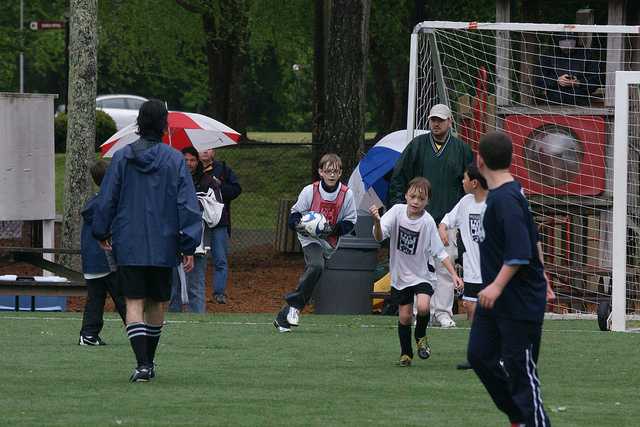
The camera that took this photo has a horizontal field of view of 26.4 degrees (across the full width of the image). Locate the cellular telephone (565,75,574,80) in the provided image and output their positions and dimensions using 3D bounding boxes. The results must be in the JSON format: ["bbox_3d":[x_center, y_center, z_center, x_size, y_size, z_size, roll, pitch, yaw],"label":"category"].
[{"bbox_3d":[4.238,-2.318,23.281,0.093,0.069,0.217,1,3,31],"label":"cellular telephone"}]

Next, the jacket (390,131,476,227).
[{"bbox_3d":[1.642,-0.458,19.927,1.328,1.288,0.532,5,2,2],"label":"jacket"}]

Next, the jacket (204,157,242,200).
[{"bbox_3d":[-1.619,-0.579,23.187,0.272,0.713,0.537,-20,14,49],"label":"jacket"}]

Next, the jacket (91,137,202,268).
[{"bbox_3d":[-2.343,-0.138,18.379,1.599,1.675,0.705,4,9,10],"label":"jacket"}]

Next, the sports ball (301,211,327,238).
[{"bbox_3d":[-0.091,0.169,20.447,0.381,0.314,0.304,4,6,30],"label":"sports ball"}]

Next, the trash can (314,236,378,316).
[{"bbox_3d":[0.551,1.138,23.384,1.104,1.432,1.207,1,0,-29],"label":"trash can"}]

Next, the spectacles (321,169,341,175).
[{"bbox_3d":[0.144,-0.627,20.486,0.253,0.079,0.086,-1,3,0],"label":"spectacles"}]

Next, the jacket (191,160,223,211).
[{"bbox_3d":[-1.840,-0.423,21.850,0.390,0.876,0.283,-31,22,-8],"label":"jacket"}]

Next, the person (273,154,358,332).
[{"bbox_3d":[-0.076,0.449,20.651,1.202,2.666,0.459,-1,2,0],"label":"person"}]

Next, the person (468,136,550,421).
[{"bbox_3d":[2.339,0.799,17.196,0.953,3.545,0.320,0,2,8],"label":"person"}]

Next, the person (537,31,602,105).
[{"bbox_3d":[4.266,-2.478,23.508,1.071,1.206,0.906,0,3,9],"label":"person"}]
